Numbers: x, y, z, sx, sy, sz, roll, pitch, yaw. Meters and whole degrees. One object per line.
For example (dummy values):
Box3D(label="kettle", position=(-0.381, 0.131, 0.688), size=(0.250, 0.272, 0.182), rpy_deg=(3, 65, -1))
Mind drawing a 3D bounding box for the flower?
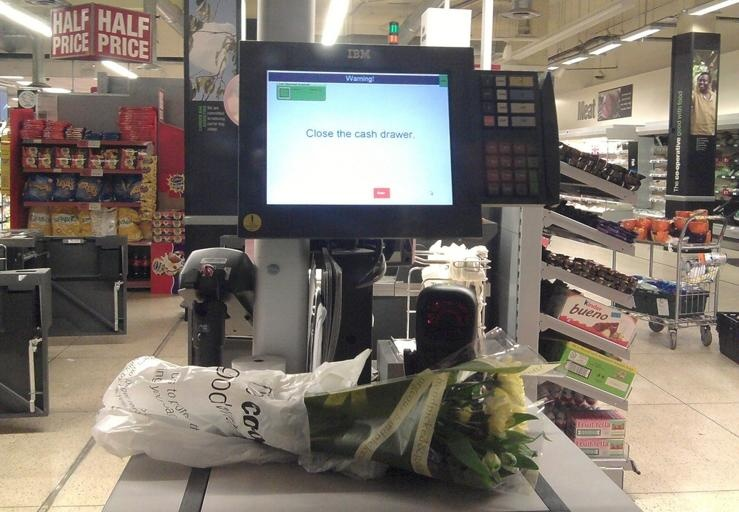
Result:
Box3D(label="flower", position=(0.119, 0.331, 1.349), size=(0.495, 0.276, 0.273), rpy_deg=(1, 30, -2))

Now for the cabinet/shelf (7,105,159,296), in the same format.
Box3D(label="cabinet/shelf", position=(-3.517, -0.623, 7.633), size=(1.627, 2.096, 0.755), rpy_deg=(3, -7, 7))

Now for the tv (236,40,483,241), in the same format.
Box3D(label="tv", position=(-0.040, -0.286, 1.529), size=(0.529, 0.417, 0.172), rpy_deg=(-1, -2, -2))

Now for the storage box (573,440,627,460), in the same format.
Box3D(label="storage box", position=(1.264, 1.039, 3.224), size=(0.280, 0.097, 0.063), rpy_deg=(-1, 11, -9))
